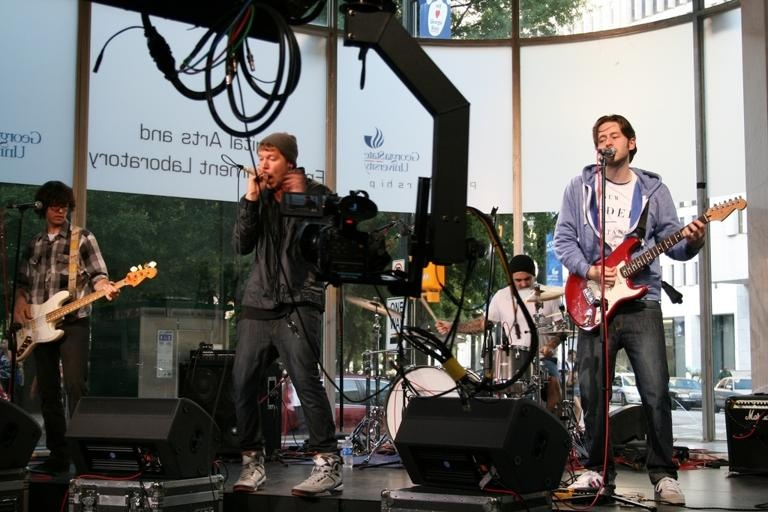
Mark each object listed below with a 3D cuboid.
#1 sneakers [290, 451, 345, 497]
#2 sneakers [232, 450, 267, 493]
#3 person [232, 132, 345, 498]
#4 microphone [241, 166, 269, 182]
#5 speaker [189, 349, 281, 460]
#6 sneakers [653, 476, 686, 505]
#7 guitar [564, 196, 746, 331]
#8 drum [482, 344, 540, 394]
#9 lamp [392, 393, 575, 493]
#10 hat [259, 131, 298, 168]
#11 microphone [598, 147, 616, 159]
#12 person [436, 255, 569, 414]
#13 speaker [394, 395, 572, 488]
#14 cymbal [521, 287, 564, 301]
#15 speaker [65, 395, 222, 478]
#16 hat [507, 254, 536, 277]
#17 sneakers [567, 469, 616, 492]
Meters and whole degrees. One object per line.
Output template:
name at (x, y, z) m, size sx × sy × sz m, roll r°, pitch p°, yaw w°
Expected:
sneakers at (-0.458, 1.576, 6.497) m, size 0.159 × 0.309 × 0.451 m, roll -9°, pitch -8°, yaw 43°
sneakers at (-0.990, 1.579, 6.629) m, size 0.166 × 0.294 × 0.461 m, roll -7°, pitch -3°, yaw 10°
person at (-0.733, 0.415, 6.594) m, size 0.778 × 2.601 × 0.404 m, roll -2°, pitch -2°, yaw 1°
microphone at (-0.931, -0.584, 6.486) m, size 0.189 × 0.105 × 0.380 m, roll -2°, pitch -2°, yaw -4°
speaker at (-1.484, 1.402, 8.633) m, size 0.761 × 1.122 × 0.586 m, roll 0°, pitch -5°, yaw 11°
sneakers at (2.038, 1.687, 6.457) m, size 0.104 × 0.130 × 0.281 m, roll 2°, pitch -18°, yaw -3°
guitar at (1.906, -0.011, 6.589) m, size 1.461 × 0.548 × 0.221 m, roll -35°, pitch 13°, yaw 22°
drum at (1.131, 1.005, 8.210) m, size 0.343 × 0.392 × 0.373 m, roll -6°, pitch -8°, yaw 36°
lamp at (0.636, 1.048, 5.978) m, size 0.888 × 0.592 × 0.671 m, roll -5°, pitch -3°, yaw 38°
hat at (-0.782, -0.769, 6.679) m, size 0.259 × 0.257 × 0.205 m, roll 5°, pitch 3°, yaw -9°
microphone at (1.645, -0.744, 6.625) m, size 0.148 × 0.102 × 0.115 m, roll -2°, pitch -2°, yaw -8°
person at (1.054, 0.710, 7.868) m, size 1.095 × 1.540 × 0.815 m, roll -2°, pitch -29°, yaw 4°
speaker at (0.647, 1.276, 6.229) m, size 1.021 × 0.671 × 0.772 m, roll -8°, pitch -9°, yaw 44°
cymbal at (1.496, 0.375, 8.608) m, size 0.235 × 0.063 × 0.247 m, roll -6°, pitch 12°, yaw 26°
speaker at (-1.625, 1.081, 6.344) m, size 0.785 × 0.524 × 0.582 m, roll -4°, pitch -6°, yaw 24°
hat at (1.383, 0.095, 9.057) m, size 0.291 × 0.255 × 0.310 m, roll 4°, pitch -3°, yaw 8°
sneakers at (1.500, 1.628, 6.545) m, size 0.330 × 0.155 × 0.152 m, roll -1°, pitch -20°, yaw 13°
